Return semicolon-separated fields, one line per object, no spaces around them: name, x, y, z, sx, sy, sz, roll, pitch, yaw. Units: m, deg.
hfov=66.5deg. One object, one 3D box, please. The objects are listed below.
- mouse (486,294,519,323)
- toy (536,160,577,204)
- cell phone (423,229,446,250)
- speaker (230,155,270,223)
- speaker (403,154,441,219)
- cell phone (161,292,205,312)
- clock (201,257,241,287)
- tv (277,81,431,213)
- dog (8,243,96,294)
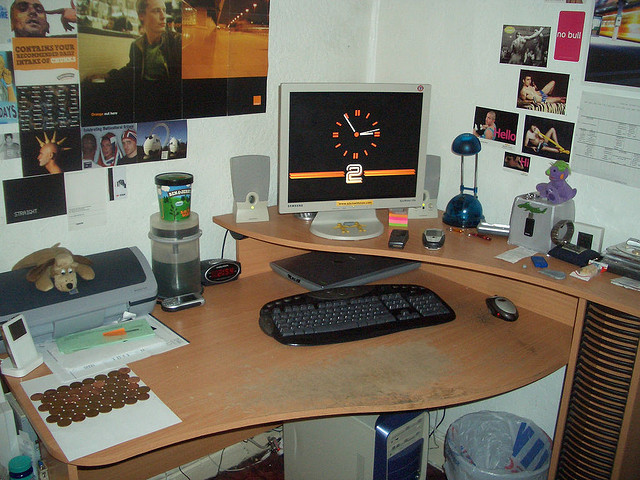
mouse;0.634;0.230;1.704;0.071;0.035;0.101;-5;37;-20
toy;0.817;-0.207;1.687;0.145;0.162;0.138;2;10;-10
cell phone;0.400;-0.006;1.732;0.070;0.049;0.098;5;20;20
speaker;-0.267;-0.212;1.911;0.157;0.245;0.138;-2;16;-1
speaker;0.394;-0.214;1.915;0.140;0.153;0.232;-2;21;-2
cell phone;-0.480;0.209;1.698;0.090;0.021;0.067;-9;17;-29
clock;-0.354;0.134;1.873;0.158;0.084;0.108;-9;-16;4
tv;0.107;-0.348;1.769;0.515;0.414;0.038;-1;15;-15
dog;-0.829;0.085;1.539;0.220;0.111;0.185;-14;22;-32
